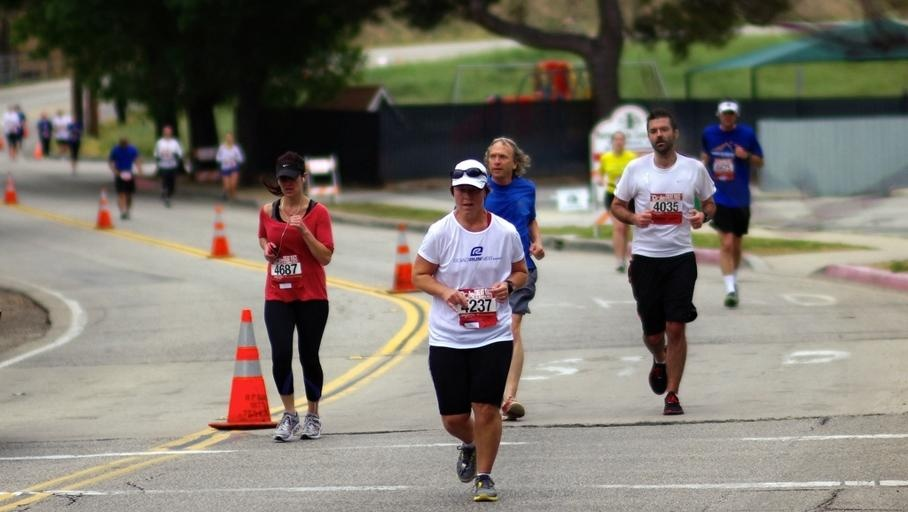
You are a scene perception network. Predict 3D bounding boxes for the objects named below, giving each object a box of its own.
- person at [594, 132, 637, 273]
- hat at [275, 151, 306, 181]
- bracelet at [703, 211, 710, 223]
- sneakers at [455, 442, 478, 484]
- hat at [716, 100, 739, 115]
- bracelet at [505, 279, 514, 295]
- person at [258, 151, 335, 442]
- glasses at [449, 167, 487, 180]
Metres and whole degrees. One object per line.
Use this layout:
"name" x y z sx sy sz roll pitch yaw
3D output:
"person" 3.391 -1.045 27.151 1.208 2.761 1.034 -2 -1 -14
"hat" -2.388 -1.291 19.298 0.345 0.274 0.439 -1 2 4
"bracelet" 3.749 -0.584 19.940 0.051 0.162 0.183 3 -2 13
"sneakers" 0.147 2.759 17.800 0.212 0.547 0.251 -1 1 5
"hat" 4.867 -2.634 23.726 0.340 0.242 0.352 -1 8 1
"bracelet" 0.715 0.419 17.601 0.129 0.176 0.169 1 1 -27
"person" -2.277 0.595 19.257 1.004 4.080 0.724 -3 8 -8
"glasses" 0.171 -1.079 17.488 0.435 0.140 0.143 -1 8 3
